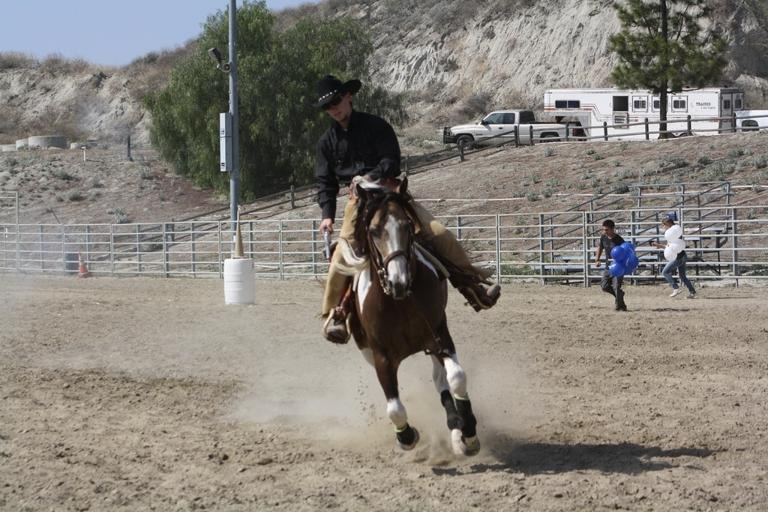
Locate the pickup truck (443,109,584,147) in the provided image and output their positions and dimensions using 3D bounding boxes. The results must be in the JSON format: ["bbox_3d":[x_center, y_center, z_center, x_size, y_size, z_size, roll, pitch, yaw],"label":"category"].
[{"bbox_3d":[7.798,-7.659,75.910,8.114,3.092,3.320,2,9,14],"label":"pickup truck"}]

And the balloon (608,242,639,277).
[{"bbox_3d":[9.630,0.121,50.548,1.141,1.348,0.548,-2,3,2],"label":"balloon"}]

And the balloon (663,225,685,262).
[{"bbox_3d":[11.954,-0.557,51.237,0.890,1.414,0.523,19,8,28],"label":"balloon"}]

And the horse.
[{"bbox_3d":[0.694,1.924,44.279,4.945,8.941,10.117,1,-1,1],"label":"horse"}]
